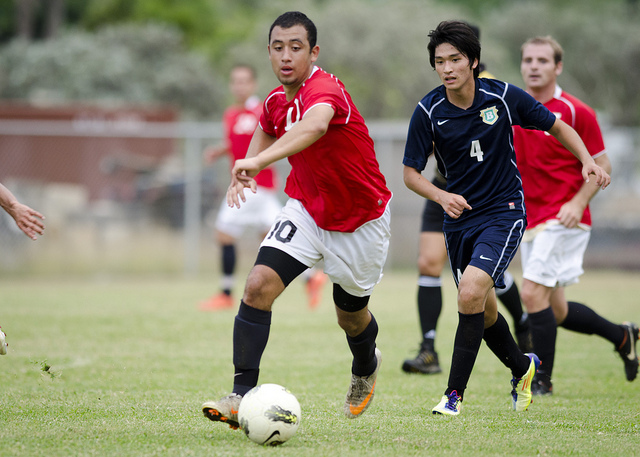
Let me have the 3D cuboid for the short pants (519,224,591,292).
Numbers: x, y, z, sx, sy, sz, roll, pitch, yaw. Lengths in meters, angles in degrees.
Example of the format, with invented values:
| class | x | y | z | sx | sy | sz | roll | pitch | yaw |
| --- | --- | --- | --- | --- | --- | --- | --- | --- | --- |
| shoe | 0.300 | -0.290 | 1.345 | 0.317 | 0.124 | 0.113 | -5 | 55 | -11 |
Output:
| class | x | y | z | sx | sy | sz | roll | pitch | yaw |
| --- | --- | --- | --- | --- | --- | --- | --- | --- | --- |
| short pants | 1.891 | 0.191 | 6.444 | 0.478 | 0.639 | 0.516 | 9 | 15 | 18 |

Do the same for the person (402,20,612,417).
| class | x | y | z | sx | sy | sz | roll | pitch | yaw |
| --- | --- | --- | --- | --- | --- | --- | --- | --- | --- |
| person | 1.211 | -0.077 | 5.799 | 1.301 | 2.757 | 0.761 | 0 | 6 | -21 |

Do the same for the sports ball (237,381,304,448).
| class | x | y | z | sx | sy | sz | roll | pitch | yaw |
| --- | --- | --- | --- | --- | --- | --- | --- | --- | --- |
| sports ball | -0.294 | 1.179 | 5.075 | 0.343 | 0.363 | 0.353 | -22 | -30 | -14 |

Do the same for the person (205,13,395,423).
| class | x | y | z | sx | sy | sz | roll | pitch | yaw |
| --- | --- | --- | --- | --- | --- | --- | --- | --- | --- |
| person | -0.056 | -0.046 | 5.254 | 1.039 | 2.686 | 0.856 | 2 | 5 | 2 |

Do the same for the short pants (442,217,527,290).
| class | x | y | z | sx | sy | sz | roll | pitch | yaw |
| --- | --- | --- | --- | --- | --- | --- | --- | --- | --- |
| short pants | 1.132 | 0.158 | 5.544 | 0.547 | 0.478 | 0.328 | 3 | 5 | 11 |

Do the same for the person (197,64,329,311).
| class | x | y | z | sx | sy | sz | roll | pitch | yaw |
| --- | --- | --- | --- | --- | --- | --- | --- | --- | --- |
| person | -0.977 | -0.590 | 9.985 | 1.242 | 3.723 | 1.139 | 8 | 21 | 11 |
